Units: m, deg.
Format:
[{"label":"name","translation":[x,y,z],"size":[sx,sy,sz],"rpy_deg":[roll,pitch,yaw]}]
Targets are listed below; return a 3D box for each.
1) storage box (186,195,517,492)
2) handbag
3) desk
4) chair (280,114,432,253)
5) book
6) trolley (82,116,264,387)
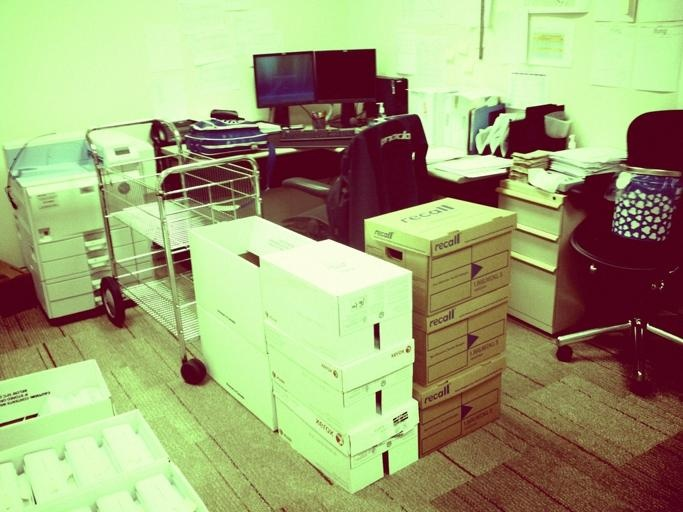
[{"label":"storage box","translation":[-0.025,0.232,2.951],"size":[1.138,1.033,1.502],"rpy_deg":[-16,27,-33]},{"label":"handbag","translation":[-0.674,-0.738,3.517],"size":[0.390,0.130,0.289],"rpy_deg":[-12,23,-38]},{"label":"desk","translation":[-0.006,-0.431,3.509],"size":[1.785,0.365,1.176],"rpy_deg":[-1,10,-35]},{"label":"chair","translation":[0.219,-0.553,3.412],"size":[0.728,0.970,0.771],"rpy_deg":[-23,35,-37]},{"label":"book","translation":[0.975,-0.521,3.310],"size":[0.506,0.108,0.490],"rpy_deg":[-15,24,-34]},{"label":"trolley","translation":[-0.995,0.001,3.239],"size":[0.888,1.251,1.187],"rpy_deg":[-15,29,-33]}]
